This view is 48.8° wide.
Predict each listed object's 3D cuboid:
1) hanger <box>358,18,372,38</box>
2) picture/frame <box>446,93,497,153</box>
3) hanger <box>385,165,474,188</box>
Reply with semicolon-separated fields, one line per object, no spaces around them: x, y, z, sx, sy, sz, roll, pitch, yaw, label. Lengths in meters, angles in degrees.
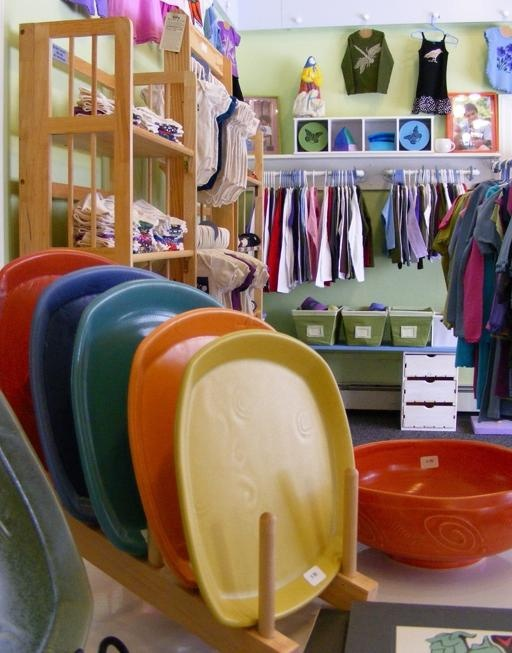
0.821;-2.216;4.206;0.081;0.128;0.039;-7;12;-15;hanger
1.619;-1.556;4.253;0.367;0.618;0.040;0;4;0;picture/frame
1.331;-1.117;4.245;0.740;0.174;0.291;0;6;-11;hanger
